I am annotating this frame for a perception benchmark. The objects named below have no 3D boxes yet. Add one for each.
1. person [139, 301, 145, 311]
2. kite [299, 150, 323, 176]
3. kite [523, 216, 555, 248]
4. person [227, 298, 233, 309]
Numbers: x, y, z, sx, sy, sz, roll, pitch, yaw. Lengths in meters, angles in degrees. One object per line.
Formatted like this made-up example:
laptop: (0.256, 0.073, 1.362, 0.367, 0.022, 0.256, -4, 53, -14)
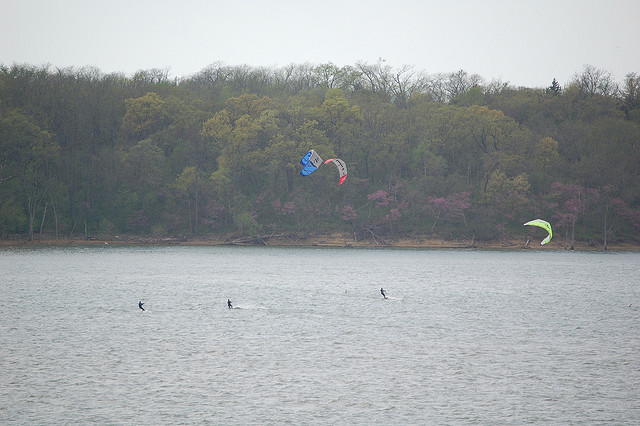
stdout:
person: (-20.320, 10.576, 128.090, 0.524, 1.121, 0.358, -8, 34, -9)
kite: (-1.189, -7.906, 168.332, 1.793, 2.834, 4.134, 37, 55, 12)
kite: (33.315, 2.497, 167.336, 3.241, 1.954, 4.071, -25, 48, -30)
person: (-10.325, 10.489, 130.153, 0.271, 0.899, 0.679, -27, 37, -31)
